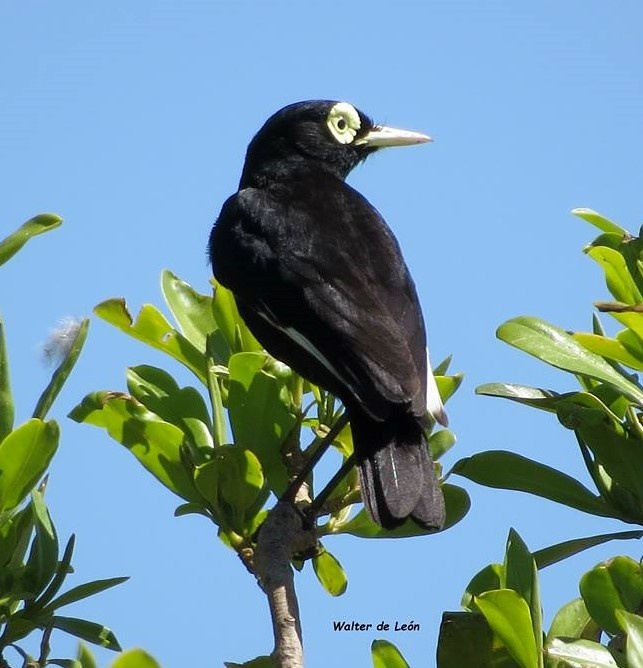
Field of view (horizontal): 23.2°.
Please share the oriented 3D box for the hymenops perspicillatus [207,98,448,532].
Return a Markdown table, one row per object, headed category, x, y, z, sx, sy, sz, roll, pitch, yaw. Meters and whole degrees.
| category | x | y | z | sx | sy | sz | roll | pitch | yaw |
| --- | --- | --- | --- | --- | --- | --- | --- | --- | --- |
| hymenops perspicillatus | 0.041 | -0.134 | 3.353 | 0.551 | 1.320 | 0.362 | 19 | -56 | -11 |
